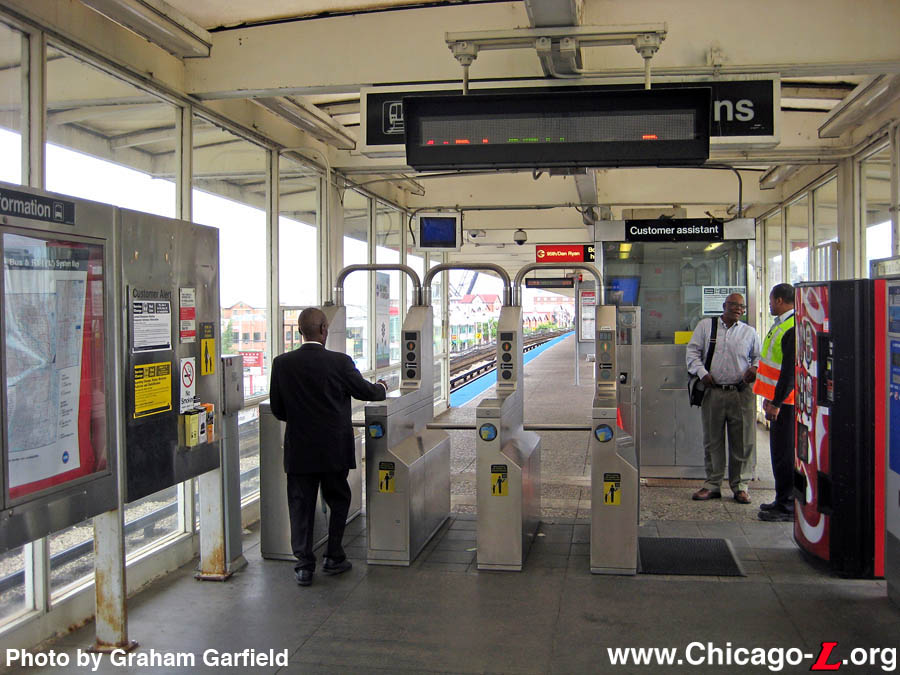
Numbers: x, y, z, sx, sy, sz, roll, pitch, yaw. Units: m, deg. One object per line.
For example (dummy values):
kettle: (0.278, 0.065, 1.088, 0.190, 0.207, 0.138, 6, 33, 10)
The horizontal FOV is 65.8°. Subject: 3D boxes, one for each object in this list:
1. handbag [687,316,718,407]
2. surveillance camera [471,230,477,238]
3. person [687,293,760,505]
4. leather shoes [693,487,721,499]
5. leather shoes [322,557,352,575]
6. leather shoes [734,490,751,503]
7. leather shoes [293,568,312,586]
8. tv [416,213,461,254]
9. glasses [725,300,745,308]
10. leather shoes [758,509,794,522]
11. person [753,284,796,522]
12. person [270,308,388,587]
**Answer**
handbag: (2.712, 0.270, 7.432, 0.430, 0.835, 0.207, -3, -2, 27)
surveillance camera: (0.549, -2.357, 15.761, 0.104, 0.155, 0.347, -1, -2, 3)
person: (2.905, 0.646, 7.375, 0.718, 2.194, 0.326, 0, 2, 20)
leather shoes: (2.774, 1.668, 7.532, 0.353, 0.156, 0.125, 3, -4, -18)
leather shoes: (-0.915, 1.873, 5.733, 0.086, 0.116, 0.253, 2, 0, 42)
leather shoes: (3.087, 1.685, 7.325, 0.077, 0.101, 0.230, -2, -10, 4)
leather shoes: (-1.160, 1.886, 5.533, 0.154, 0.125, 0.158, -1, 3, -1)
tv: (-0.161, -1.703, 11.209, 0.586, 0.564, 0.219, 0, -4, 2)
glasses: (2.997, -0.352, 7.392, 0.222, 0.079, 0.171, 1, 4, 44)
leather shoes: (3.156, 1.710, 6.784, 0.321, 0.163, 0.128, 5, -4, 6)
person: (3.175, 0.626, 6.795, 0.332, 2.280, 0.521, 0, 2, 24)
person: (-1.019, 0.848, 5.637, 0.803, 2.180, 0.336, -2, 2, -16)
